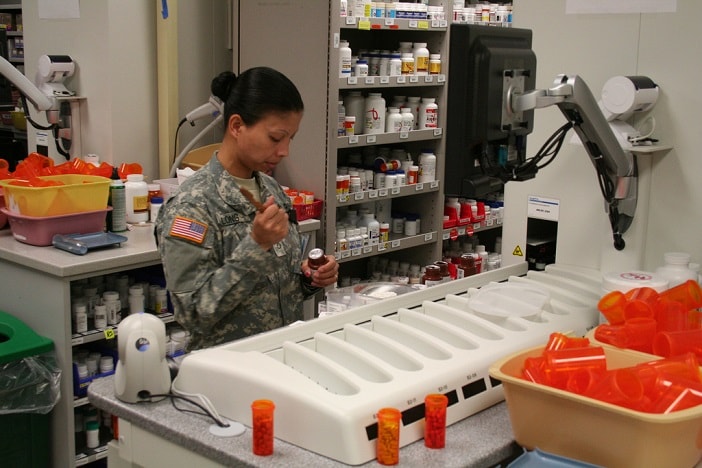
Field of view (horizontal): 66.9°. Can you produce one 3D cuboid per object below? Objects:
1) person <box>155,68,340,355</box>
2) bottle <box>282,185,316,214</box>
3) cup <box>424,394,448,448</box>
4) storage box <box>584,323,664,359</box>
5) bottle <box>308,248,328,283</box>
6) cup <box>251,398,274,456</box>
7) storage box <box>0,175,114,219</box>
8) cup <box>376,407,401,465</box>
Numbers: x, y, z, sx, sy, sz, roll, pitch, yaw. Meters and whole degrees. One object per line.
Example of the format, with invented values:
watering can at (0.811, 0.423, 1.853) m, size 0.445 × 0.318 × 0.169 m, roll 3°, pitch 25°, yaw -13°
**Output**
person at (-0.404, -0.107, 2.132) m, size 0.668 × 1.108 × 0.505 m, roll -9°, pitch 12°, yaw -41°
bottle at (-0.346, -0.237, 3.590) m, size 0.181 × 0.088 × 0.179 m, roll 3°, pitch 11°, yaw -1°
cup at (0.228, 0.490, 1.447) m, size 0.060 × 0.142 × 0.109 m, roll 1°, pitch 9°, yaw 9°
storage box at (0.851, 0.317, 1.651) m, size 0.152 × 0.056 × 0.100 m, roll 10°, pitch 23°, yaw 16°
bottle at (-0.144, 0.140, 2.269) m, size 0.098 × 0.147 × 0.102 m, roll -3°, pitch 43°, yaw 3°
cup at (-0.231, 0.494, 1.374) m, size 0.069 × 0.139 × 0.051 m, roll 0°, pitch 9°, yaw 6°
storage box at (-1.553, -0.198, 2.870) m, size 0.394 × 0.139 × 0.322 m, roll -13°, pitch 19°, yaw -43°
cup at (0.092, 0.510, 1.338) m, size 0.054 × 0.141 × 0.034 m, roll 1°, pitch 9°, yaw 11°
